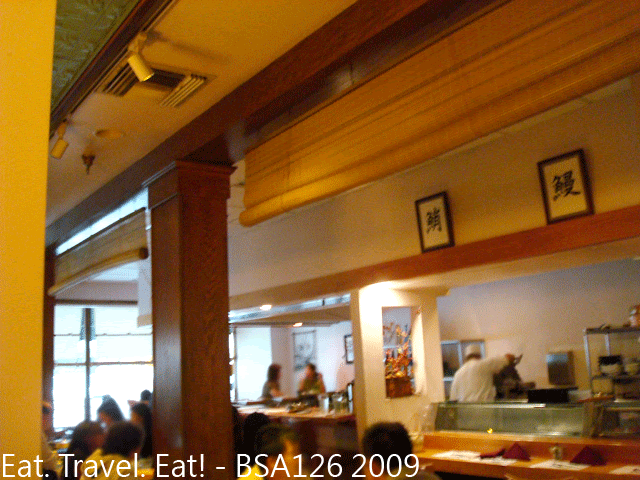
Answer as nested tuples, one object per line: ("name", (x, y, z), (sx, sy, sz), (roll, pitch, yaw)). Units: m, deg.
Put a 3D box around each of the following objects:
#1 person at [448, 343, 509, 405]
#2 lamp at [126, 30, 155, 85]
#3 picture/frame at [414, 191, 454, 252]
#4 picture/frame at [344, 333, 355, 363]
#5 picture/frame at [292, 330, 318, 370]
("person", (1.706, 1.482, 5.726), (0.528, 0.568, 0.784), (-12, -17, 31))
("lamp", (-0.736, -0.758, 2.089), (0.099, 0.182, 0.081), (-31, -1, 34))
("picture/frame", (0.882, -0.139, 3.917), (0.063, 0.452, 0.328), (15, -30, -35))
("picture/frame", (0.583, 2.198, 10.385), (0.130, 0.595, 0.392), (0, -15, -13))
("picture/frame", (-0.328, 2.437, 11.394), (0.059, 1.108, 1.083), (2, -3, -33))
